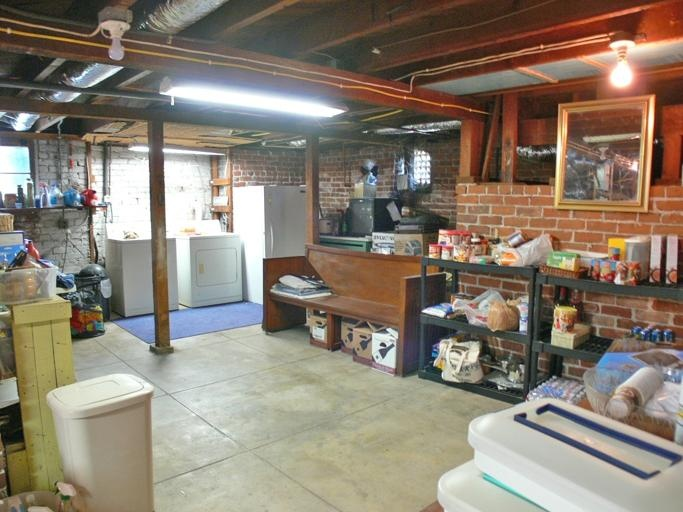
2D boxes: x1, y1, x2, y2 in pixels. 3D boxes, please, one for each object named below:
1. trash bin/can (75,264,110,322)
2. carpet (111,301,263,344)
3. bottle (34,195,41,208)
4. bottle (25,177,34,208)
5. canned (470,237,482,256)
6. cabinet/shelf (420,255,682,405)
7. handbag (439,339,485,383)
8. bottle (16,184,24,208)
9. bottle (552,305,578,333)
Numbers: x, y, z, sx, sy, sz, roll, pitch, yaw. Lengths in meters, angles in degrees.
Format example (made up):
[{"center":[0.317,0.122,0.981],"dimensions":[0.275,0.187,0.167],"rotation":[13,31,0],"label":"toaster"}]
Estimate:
[{"center":[-3.292,0.516,6.635],"dimensions":[0.298,0.767,0.488],"rotation":[1,13,12],"label":"trash bin/can"},{"center":[-1.936,0.852,6.901],"dimensions":[1.907,0.129,1.440],"rotation":[-10,14,-38],"label":"carpet"},{"center":[-4.079,-0.723,6.783],"dimensions":[0.072,0.141,0.319],"rotation":[-9,14,-30],"label":"bottle"},{"center":[-4.099,-0.801,6.621],"dimensions":[0.107,0.340,0.190],"rotation":[-10,15,-30],"label":"bottle"},{"center":[1.224,-0.081,4.607],"dimensions":[0.113,0.138,0.196],"rotation":[2,12,14],"label":"canned"},{"center":[1.594,0.552,3.859],"dimensions":[1.332,0.674,0.442],"rotation":[7,11,43],"label":"cabinet/shelf"},{"center":[1.057,0.930,4.506],"dimensions":[0.375,0.328,0.383],"rotation":[-3,-8,28],"label":"handbag"},{"center":[-4.184,-0.765,6.575],"dimensions":[0.103,0.277,0.214],"rotation":[-9,15,-27],"label":"bottle"},{"center":[1.742,0.490,3.977],"dimensions":[0.245,0.200,0.195],"rotation":[0,-1,-1],"label":"bottle"}]
